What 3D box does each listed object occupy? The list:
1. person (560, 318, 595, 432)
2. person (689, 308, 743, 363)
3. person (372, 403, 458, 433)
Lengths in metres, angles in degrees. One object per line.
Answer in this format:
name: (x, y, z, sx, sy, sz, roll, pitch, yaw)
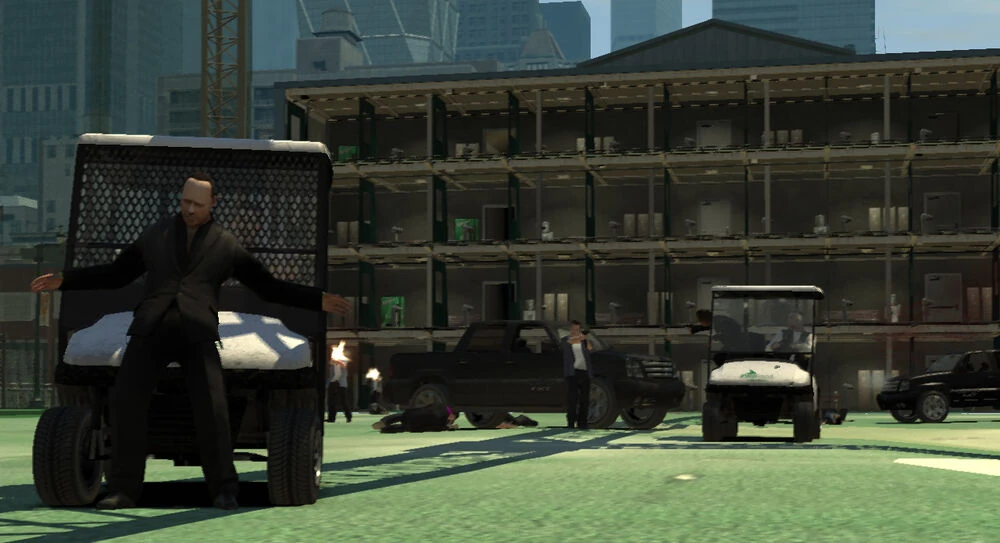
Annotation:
person: (2.589, 3.602, 49.704, 0.843, 3.676, 0.542, -2, -2, 0)
person: (6.821, 2.208, 48.372, 1.027, 1.705, 1.593, -1, -1, -24)
person: (-2.785, 5.186, 50.397, 2.229, 0.579, 1.215, -3, -4, 8)
